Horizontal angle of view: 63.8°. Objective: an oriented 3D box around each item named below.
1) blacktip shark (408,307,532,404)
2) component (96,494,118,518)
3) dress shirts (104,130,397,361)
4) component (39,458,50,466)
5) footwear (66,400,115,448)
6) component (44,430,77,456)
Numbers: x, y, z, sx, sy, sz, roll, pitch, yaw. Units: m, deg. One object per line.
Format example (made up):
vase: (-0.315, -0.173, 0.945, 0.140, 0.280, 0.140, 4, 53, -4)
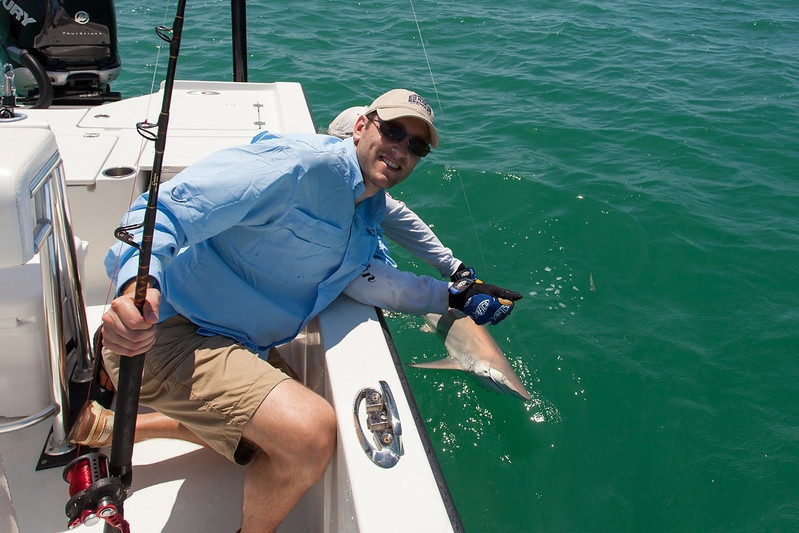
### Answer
blacktip shark: (0.512, 0.532, 4.043, 0.770, 0.290, 0.451, 34, 24, 17)
component: (-1.236, 1.012, 2.710, 0.075, 0.090, 0.050, -6, 32, -21)
dress shirts: (-0.685, -0.066, 3.105, 1.022, 1.294, 0.634, -26, 67, 9)
component: (-1.715, 0.936, 3.089, 0.029, 0.007, 0.027, 4, 40, -12)
footwear: (-1.444, 0.746, 3.045, 0.210, 0.421, 0.139, 24, 69, -18)
component: (-1.658, 0.873, 3.126, 0.139, 0.048, 0.107, -3, 74, -12)
